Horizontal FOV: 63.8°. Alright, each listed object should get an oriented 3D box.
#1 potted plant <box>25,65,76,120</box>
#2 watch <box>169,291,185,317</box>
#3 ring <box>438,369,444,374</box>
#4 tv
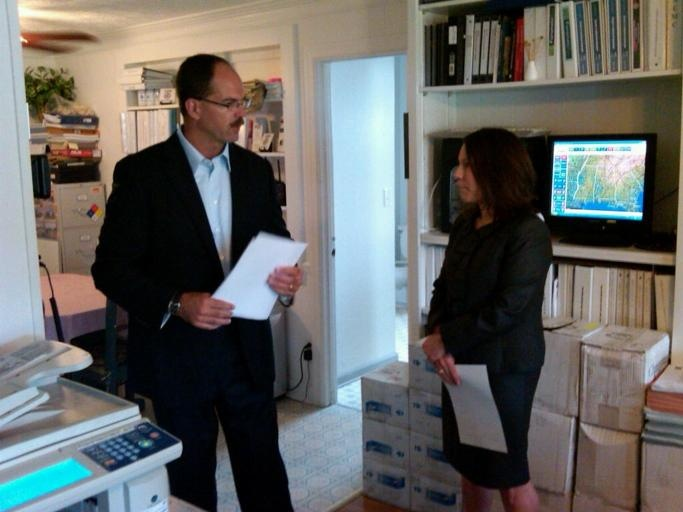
[{"bbox_3d":[-3.200,-1.818,5.948,0.479,0.502,0.393,24,28,31],"label":"potted plant"},{"bbox_3d":[-0.547,0.166,1.848,0.018,0.063,0.059,17,7,-17],"label":"watch"},{"bbox_3d":[0.397,0.457,2.173,0.022,0.022,0.021,3,-20,1],"label":"ring"},{"bbox_3d":[1.267,-0.321,2.626,0.507,0.569,0.202,4,11,35],"label":"tv"}]
